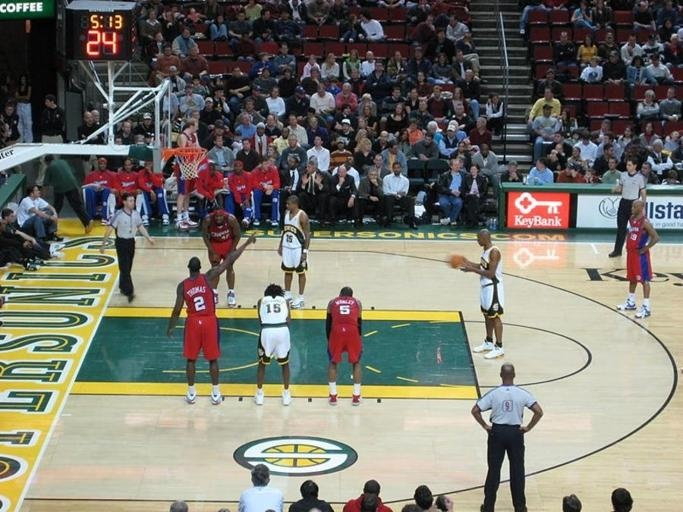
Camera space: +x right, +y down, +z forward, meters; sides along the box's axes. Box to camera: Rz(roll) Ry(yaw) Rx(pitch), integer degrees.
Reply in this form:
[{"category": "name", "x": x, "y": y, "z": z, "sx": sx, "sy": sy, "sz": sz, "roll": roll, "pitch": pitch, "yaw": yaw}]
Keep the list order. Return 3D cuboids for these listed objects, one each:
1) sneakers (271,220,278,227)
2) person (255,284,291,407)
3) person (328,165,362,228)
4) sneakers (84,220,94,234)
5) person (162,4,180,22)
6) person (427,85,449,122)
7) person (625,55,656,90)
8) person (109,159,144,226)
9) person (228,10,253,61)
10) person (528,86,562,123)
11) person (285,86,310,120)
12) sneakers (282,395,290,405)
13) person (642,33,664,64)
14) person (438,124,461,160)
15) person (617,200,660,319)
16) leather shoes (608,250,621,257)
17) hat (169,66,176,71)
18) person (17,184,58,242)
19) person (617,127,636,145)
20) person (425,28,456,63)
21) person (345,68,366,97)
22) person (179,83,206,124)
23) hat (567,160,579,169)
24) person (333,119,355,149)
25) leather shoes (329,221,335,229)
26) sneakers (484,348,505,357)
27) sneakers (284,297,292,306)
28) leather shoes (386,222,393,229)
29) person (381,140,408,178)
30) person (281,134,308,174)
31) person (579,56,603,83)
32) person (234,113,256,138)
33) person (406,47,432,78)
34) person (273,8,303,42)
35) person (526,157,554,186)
[{"category": "sneakers", "x": -1.645, "y": -0.799, "z": 21.332, "sx": 0.131, "sy": 0.141, "sz": 0.333, "roll": 1, "pitch": 8, "yaw": -5}, {"category": "person", "x": -1.083, "y": 1.313, "z": 13.499, "sx": 0.557, "sy": 1.932, "sz": 1.070, "roll": -1, "pitch": 7, "yaw": -5}, {"category": "person", "x": 0.004, "y": -1.501, "z": 21.368, "sx": 0.783, "sy": 1.419, "sz": 0.952, "roll": -1, "pitch": 7, "yaw": -2}, {"category": "sneakers", "x": -5.976, "y": -0.677, "z": 20.531, "sx": 0.129, "sy": 0.371, "sz": 0.263, "roll": 8, "pitch": 27, "yaw": -25}, {"category": "person", "x": -5.087, "y": -7.174, "z": 25.763, "sx": 0.654, "sy": 0.345, "sz": 0.858, "roll": -1, "pitch": 6, "yaw": -4}, {"category": "person", "x": 2.622, "y": -4.077, "z": 23.802, "sx": 0.610, "sy": 1.011, "sz": 0.577, "roll": -1, "pitch": 2, "yaw": -5}, {"category": "person", "x": 8.645, "y": -5.351, "z": 25.367, "sx": 0.893, "sy": 1.257, "sz": 0.920, "roll": 1, "pitch": 2, "yaw": 4}, {"category": "person", "x": -5.076, "y": -1.553, "z": 20.730, "sx": 0.848, "sy": 1.411, "sz": 0.909, "roll": 1, "pitch": 1, "yaw": 7}, {"category": "person", "x": -2.965, "y": -6.502, "z": 25.741, "sx": 0.790, "sy": 1.464, "sz": 1.191, "roll": -2, "pitch": 8, "yaw": -7}, {"category": "person", "x": 5.592, "y": -3.930, "z": 23.926, "sx": 0.907, "sy": 1.315, "sz": 0.694, "roll": -2, "pitch": 26, "yaw": 4}, {"category": "person", "x": -1.237, "y": -4.057, "z": 23.492, "sx": 0.659, "sy": 0.950, "sz": 0.726, "roll": 16, "pitch": 14, "yaw": 26}, {"category": "sneakers", "x": -0.857, "y": 2.214, "z": 13.460, "sx": 0.083, "sy": 0.144, "sz": 0.061, "roll": 1, "pitch": -14, "yaw": -2}, {"category": "person", "x": 9.484, "y": -6.237, "z": 26.171, "sx": 0.643, "sy": 0.853, "sz": 0.964, "roll": 0, "pitch": 9, "yaw": 7}, {"category": "person", "x": 2.858, "y": -2.922, "z": 22.679, "sx": 0.637, "sy": 0.963, "sz": 0.623, "roll": -3, "pitch": -1, "yaw": -5}, {"category": "person", "x": 5.682, "y": 0.015, "z": 16.604, "sx": 0.622, "sy": 2.193, "sz": 1.469, "roll": 1, "pitch": 8, "yaw": 18}, {"category": "leather shoes", "x": 6.146, "y": -0.051, "z": 19.555, "sx": 0.271, "sy": 0.121, "sz": 0.094, "roll": 2, "pitch": 9, "yaw": 13}, {"category": "hat", "x": -4.488, "y": -4.953, "z": 23.157, "sx": 0.132, "sy": 0.131, "sz": 0.159, "roll": -1, "pitch": 16, "yaw": -8}, {"category": "person", "x": -6.811, "y": -0.938, "z": 19.469, "sx": 0.896, "sy": 1.259, "sz": 0.693, "roll": 3, "pitch": 9, "yaw": 13}, {"category": "person", "x": 7.419, "y": -3.070, "z": 22.562, "sx": 0.422, "sy": 0.526, "sz": 0.890, "roll": 2, "pitch": 8, "yaw": 17}, {"category": "person", "x": 2.947, "y": -6.161, "z": 25.711, "sx": 1.077, "sy": 1.273, "sz": 0.778, "roll": 0, "pitch": 21, "yaw": 3}, {"category": "person", "x": 0.453, "y": -4.879, "z": 24.655, "sx": 0.486, "sy": 0.805, "sz": 0.796, "roll": -2, "pitch": 10, "yaw": 1}, {"category": "person", "x": -3.979, "y": -3.901, "z": 23.214, "sx": 0.585, "sy": 1.266, "sz": 0.361, "roll": -3, "pitch": 27, "yaw": -6}, {"category": "hat", "x": 5.777, "y": -2.257, "z": 21.678, "sx": 0.186, "sy": 0.184, "sz": 0.140, "roll": 8, "pitch": 18, "yaw": -34}, {"category": "person", "x": 0.071, "y": -3.133, "z": 22.411, "sx": 0.535, "sy": 0.782, "sz": 0.328, "roll": 1, "pitch": 6, "yaw": 6}, {"category": "leather shoes", "x": -0.223, "y": -0.773, "z": 21.424, "sx": 0.152, "sy": 0.151, "sz": 0.161, "roll": -1, "pitch": -12, "yaw": 6}, {"category": "sneakers", "x": 2.617, "y": 1.623, "z": 14.875, "sx": 0.360, "sy": 0.157, "sz": 0.134, "roll": -8, "pitch": 36, "yaw": -4}, {"category": "sneakers", "x": -0.993, "y": 0.851, "z": 16.473, "sx": 0.171, "sy": 0.216, "sz": 0.473, "roll": 0, "pitch": 0, "yaw": 2}, {"category": "leather shoes", "x": 1.176, "y": -0.753, "z": 21.591, "sx": 0.159, "sy": 0.153, "sz": 0.050, "roll": 0, "pitch": 4, "yaw": 7}, {"category": "person", "x": 1.286, "y": -2.387, "z": 21.869, "sx": 0.670, "sy": 1.028, "sz": 0.704, "roll": 5, "pitch": 5, "yaw": 0}, {"category": "person", "x": -1.216, "y": -2.563, "z": 21.592, "sx": 0.602, "sy": 0.890, "sz": 0.643, "roll": -2, "pitch": 9, "yaw": 3}, {"category": "person", "x": 7.320, "y": -5.362, "z": 25.288, "sx": 0.591, "sy": 0.736, "sz": 1.076, "roll": 5, "pitch": 10, "yaw": 37}, {"category": "person", "x": -2.467, "y": -3.303, "z": 22.359, "sx": 0.537, "sy": 0.750, "sz": 0.335, "roll": -1, "pitch": 22, "yaw": -5}, {"category": "person", "x": 2.208, "y": -5.478, "z": 24.830, "sx": 0.865, "sy": 1.214, "sz": 0.858, "roll": 2, "pitch": 18, "yaw": 9}, {"category": "person", "x": -1.655, "y": -6.915, "z": 26.275, "sx": 1.225, "sy": 1.184, "sz": 0.772, "roll": -5, "pitch": 8, "yaw": -16}, {"category": "person", "x": 4.932, "y": -2.076, "z": 21.518, "sx": 0.500, "sy": 0.610, "sz": 0.759, "roll": 6, "pitch": 23, "yaw": 16}]
